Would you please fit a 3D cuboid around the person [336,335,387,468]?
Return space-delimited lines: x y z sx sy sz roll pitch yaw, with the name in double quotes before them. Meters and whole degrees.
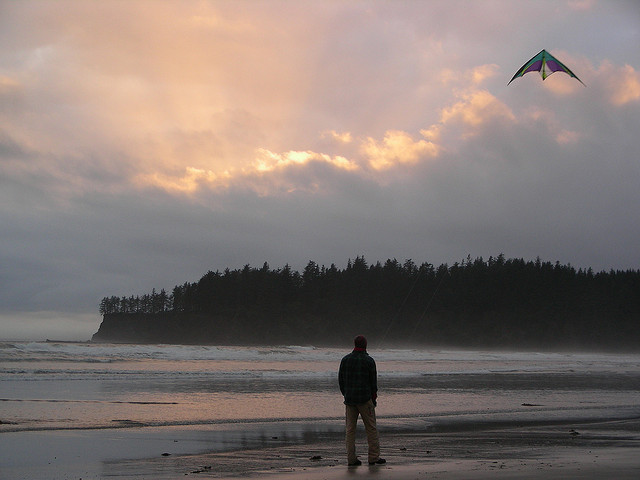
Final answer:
"person" 1.008 3.999 16.297 1.051 3.120 0.668 0 -13 3

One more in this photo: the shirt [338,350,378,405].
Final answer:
"shirt" 0.948 3.460 16.460 0.910 1.345 0.521 0 -13 3
